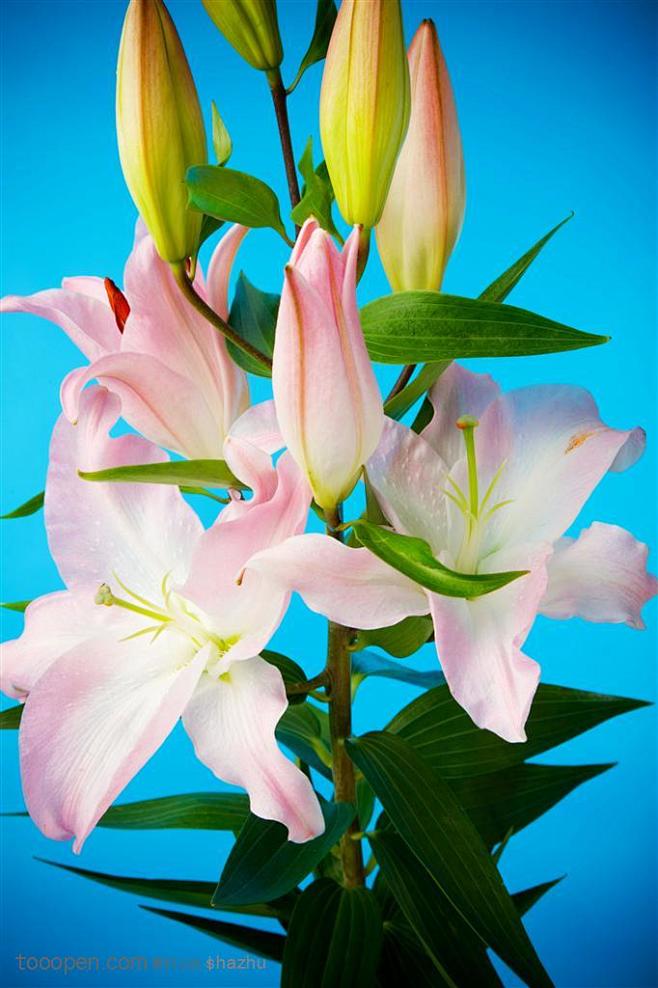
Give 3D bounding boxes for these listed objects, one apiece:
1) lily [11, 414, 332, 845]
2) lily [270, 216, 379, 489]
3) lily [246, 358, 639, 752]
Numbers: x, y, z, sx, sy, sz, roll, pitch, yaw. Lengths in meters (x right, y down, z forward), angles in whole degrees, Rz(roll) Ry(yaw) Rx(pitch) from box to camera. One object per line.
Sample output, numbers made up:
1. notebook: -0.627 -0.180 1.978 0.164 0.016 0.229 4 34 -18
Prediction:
1. lily: -0.038 0.076 0.513 0.191 0.183 0.078 -1 -23 27
2. lily: -0.002 -0.046 0.393 0.040 0.086 0.079 -10 -15 -1
3. lily: 0.071 0.014 0.432 0.149 0.071 0.161 17 31 26
